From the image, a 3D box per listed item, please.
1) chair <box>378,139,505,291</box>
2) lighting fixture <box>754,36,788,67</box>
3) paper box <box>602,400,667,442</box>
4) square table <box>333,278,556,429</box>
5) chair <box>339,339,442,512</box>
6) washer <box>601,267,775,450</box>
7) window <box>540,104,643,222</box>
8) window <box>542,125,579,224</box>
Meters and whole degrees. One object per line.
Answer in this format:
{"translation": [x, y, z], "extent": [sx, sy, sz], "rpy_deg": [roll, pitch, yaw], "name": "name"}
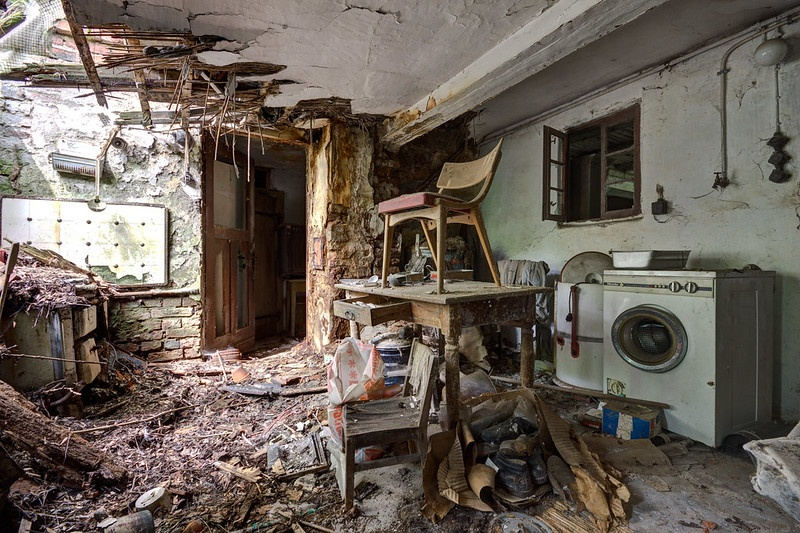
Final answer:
{"translation": [0.362, -0.465, 4.711], "extent": [1.086, 1.247, 1.082], "rpy_deg": [0, 1, -1], "name": "chair"}
{"translation": [3.366, -1.925, 4.604], "extent": [0.234, 0.284, 0.194], "rpy_deg": [-3, -2, 37], "name": "lighting fixture"}
{"translation": [2.067, 1.345, 4.566], "extent": [0.340, 0.212, 0.345], "rpy_deg": [-4, -5, 43], "name": "paper box"}
{"translation": [0.271, 0.759, 4.989], "extent": [1.522, 1.201, 1.797], "rpy_deg": [-7, 7, -31], "name": "square table"}
{"translation": [-0.111, 1.289, 4.207], "extent": [0.835, 1.043, 0.779], "rpy_deg": [-3, 8, 2], "name": "chair"}
{"translation": [2.579, 0.817, 5.439], "extent": [1.475, 2.153, 1.598], "rpy_deg": [4, -6, -23], "name": "washer"}
{"translation": [2.278, -1.272, 6.116], "extent": [0.515, 1.658, 1.333], "rpy_deg": [4, -6, -30], "name": "window"}
{"translation": [1.826, -1.047, 5.953], "extent": [0.270, 1.054, 0.514], "rpy_deg": [-3, -1, 26], "name": "window"}
